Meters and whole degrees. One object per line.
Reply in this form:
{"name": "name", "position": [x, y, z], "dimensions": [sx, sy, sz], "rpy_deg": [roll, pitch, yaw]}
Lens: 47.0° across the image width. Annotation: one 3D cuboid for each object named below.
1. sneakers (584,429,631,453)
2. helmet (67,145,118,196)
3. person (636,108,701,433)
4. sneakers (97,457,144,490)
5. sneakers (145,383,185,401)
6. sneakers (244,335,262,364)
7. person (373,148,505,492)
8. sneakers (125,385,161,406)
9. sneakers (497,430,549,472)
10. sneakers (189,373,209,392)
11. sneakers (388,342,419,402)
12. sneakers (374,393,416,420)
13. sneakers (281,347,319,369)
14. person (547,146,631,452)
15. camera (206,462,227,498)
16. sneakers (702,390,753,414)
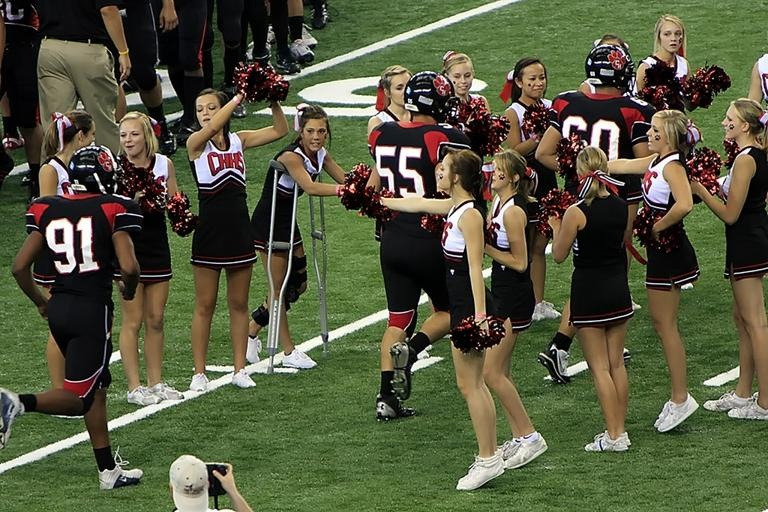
{"name": "sneakers", "position": [1.626, 1.370, 6.505], "dimensions": [0.379, 0.154, 0.137], "rpy_deg": [0, 8, 13]}
{"name": "helmet", "position": [-1.965, -0.586, 6.074], "dimensions": [0.369, 0.301, 0.262], "rpy_deg": [-8, 21, -43]}
{"name": "person", "position": [2.152, 0.117, 6.638], "dimensions": [0.377, 2.362, 0.593], "rpy_deg": [-1, 14, 17]}
{"name": "sneakers", "position": [-1.844, 1.537, 6.291], "dimensions": [0.382, 0.174, 0.126], "rpy_deg": [-6, 10, -26]}
{"name": "sneakers", "position": [-1.807, 1.130, 7.399], "dimensions": [0.305, 0.122, 0.118], "rpy_deg": [5, -2, 0]}
{"name": "sneakers", "position": [-1.168, 0.821, 8.110], "dimensions": [0.103, 0.240, 0.276], "rpy_deg": [-1, 14, 15]}
{"name": "person", "position": [0.526, 0.413, 6.122], "dimensions": [0.497, 2.271, 0.755], "rpy_deg": [-5, 14, 0]}
{"name": "sneakers", "position": [-1.975, 1.149, 7.291], "dimensions": [0.252, 0.112, 0.138], "rpy_deg": [4, 8, 22]}
{"name": "sneakers", "position": [0.998, 1.396, 6.422], "dimensions": [0.435, 0.173, 0.175], "rpy_deg": [-27, 19, -23]}
{"name": "sneakers", "position": [-1.557, 1.063, 7.485], "dimensions": [0.112, 0.080, 0.180], "rpy_deg": [0, 15, -5]}
{"name": "sneakers", "position": [0.161, 0.840, 6.526], "dimensions": [0.155, 0.446, 0.228], "rpy_deg": [3, 19, 25]}
{"name": "sneakers", "position": [0.066, 1.199, 6.991], "dimensions": [0.392, 0.205, 0.136], "rpy_deg": [-8, 13, -41]}
{"name": "sneakers", "position": [-0.752, 0.924, 7.921], "dimensions": [0.320, 0.141, 0.134], "rpy_deg": [1, 4, 11]}
{"name": "person", "position": [1.554, 0.322, 6.390], "dimensions": [0.528, 2.178, 0.510], "rpy_deg": [-8, 14, -12]}
{"name": "camera", "position": [-0.828, 1.117, 4.434], "dimensions": [0.163, 0.154, 0.057], "rpy_deg": [2, -2, -5]}
{"name": "sneakers", "position": [2.680, 1.138, 6.916], "dimensions": [0.403, 0.153, 0.143], "rpy_deg": [-2, 8, 7]}
